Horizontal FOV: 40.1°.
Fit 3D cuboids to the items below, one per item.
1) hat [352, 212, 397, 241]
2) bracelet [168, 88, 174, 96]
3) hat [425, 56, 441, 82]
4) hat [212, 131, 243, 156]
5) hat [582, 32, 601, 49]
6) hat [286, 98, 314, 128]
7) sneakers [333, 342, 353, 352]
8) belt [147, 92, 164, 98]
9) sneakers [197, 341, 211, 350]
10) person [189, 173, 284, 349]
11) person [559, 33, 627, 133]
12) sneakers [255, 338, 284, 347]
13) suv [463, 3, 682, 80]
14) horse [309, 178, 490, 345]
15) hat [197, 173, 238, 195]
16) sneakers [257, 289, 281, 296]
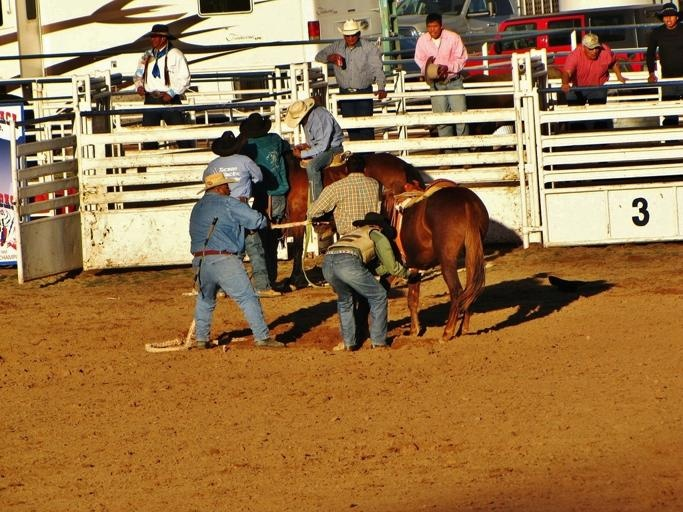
[{"bbox_3d":[0.323,-0.246,9.269,0.344,0.124,0.284,21,-16,6],"label":"hat"},{"bbox_3d":[-2.383,-2.273,13.127,0.101,0.121,0.071,-5,7,-14],"label":"bracelet"},{"bbox_3d":[1.288,-2.649,13.398,0.196,0.315,0.462,-3,6,5],"label":"hat"},{"bbox_3d":[-1.304,-1.268,10.731,0.333,0.280,0.286,-4,6,-7],"label":"hat"},{"bbox_3d":[3.595,-3.078,13.556,0.233,0.223,0.280,-2,7,13],"label":"hat"},{"bbox_3d":[-0.435,-1.636,10.882,0.292,0.330,0.123,-2,-34,47],"label":"hat"},{"bbox_3d":[0.007,0.908,9.398,0.232,0.094,0.079,7,6,38],"label":"sneakers"},{"bbox_3d":[-2.632,-2.276,13.324,0.125,0.046,0.117,3,-9,-1],"label":"belt"},{"bbox_3d":[-1.388,0.902,9.517,0.133,0.119,0.063,1,3,-23],"label":"sneakers"},{"bbox_3d":[-1.138,0.060,9.319,0.922,1.741,0.350,-2,7,14],"label":"person"},{"bbox_3d":[3.582,-2.508,14.022,1.208,1.627,0.638,-25,44,-13],"label":"person"},{"bbox_3d":[-0.727,0.871,9.455,0.285,0.112,0.099,-1,2,-9],"label":"sneakers"},{"bbox_3d":[4.387,-3.962,17.526,3.705,1.723,1.643,0,-2,24],"label":"suv"},{"bbox_3d":[0.935,0.023,9.624,0.651,1.611,2.353,1,-5,-19],"label":"horse"},{"bbox_3d":[-1.226,-0.752,9.433,0.274,0.082,0.282,-18,4,12],"label":"hat"},{"bbox_3d":[-0.890,0.454,11.473,0.263,0.095,0.092,-2,9,-19],"label":"sneakers"}]
